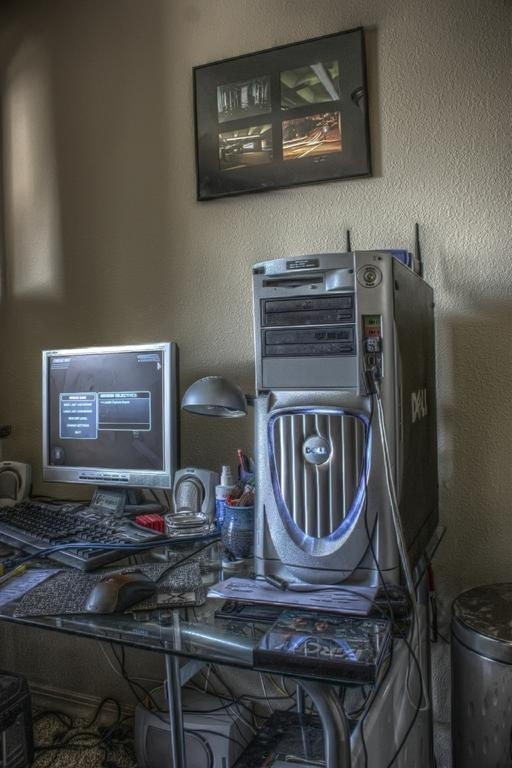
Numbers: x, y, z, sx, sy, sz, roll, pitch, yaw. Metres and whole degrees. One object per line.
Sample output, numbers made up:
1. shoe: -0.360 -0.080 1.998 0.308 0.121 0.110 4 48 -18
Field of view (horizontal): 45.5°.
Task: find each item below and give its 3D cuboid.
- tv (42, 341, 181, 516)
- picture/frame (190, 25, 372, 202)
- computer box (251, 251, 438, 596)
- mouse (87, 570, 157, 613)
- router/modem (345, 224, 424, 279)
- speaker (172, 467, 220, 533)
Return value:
1. tv: -0.384 0.076 1.558 0.448 0.354 0.099 -3 7 32
2. picture/frame: 0.083 -0.700 1.571 0.642 0.529 0.041 -1 1 22
3. computer box: 0.172 0.059 1.127 0.262 0.558 0.368 -2 2 21
4. mouse: -0.208 0.319 0.973 0.102 0.038 0.146 1 4 -4
5. router/modem: 0.292 -0.262 1.385 0.177 0.180 0.103 5 5 24
6. speaker: -0.147 0.272 1.438 0.123 0.202 0.098 -6 -12 29
